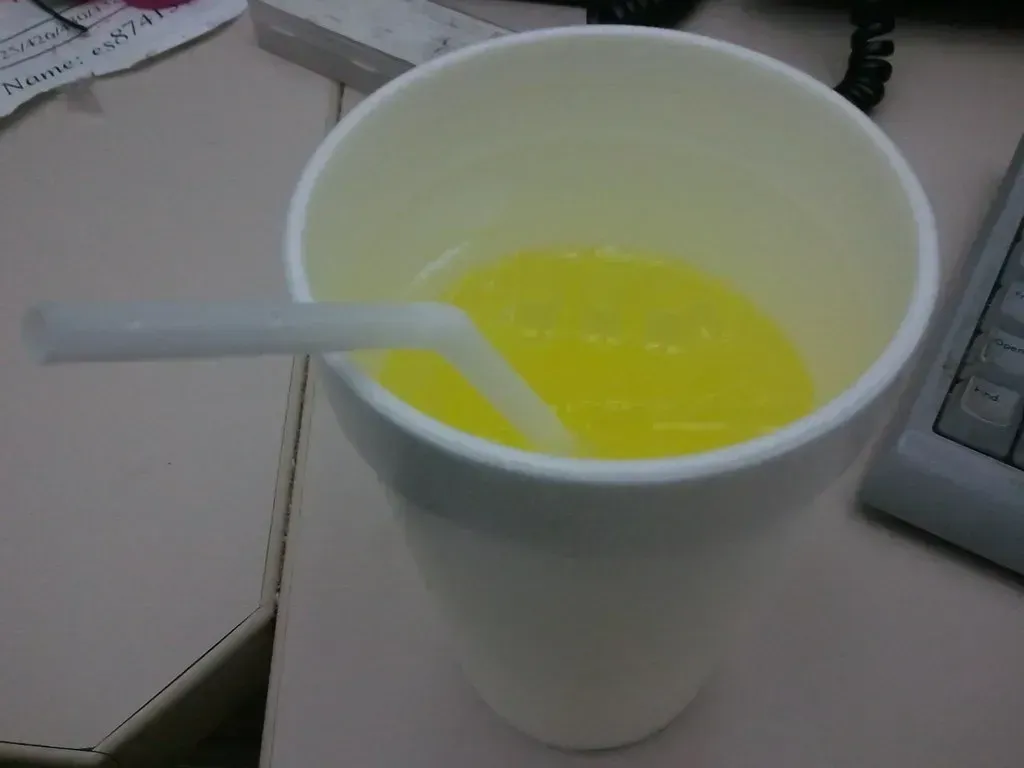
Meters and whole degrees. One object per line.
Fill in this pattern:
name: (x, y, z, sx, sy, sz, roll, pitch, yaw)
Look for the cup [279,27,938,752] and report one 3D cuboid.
cup: (0.050, 0.025, 0.560, 0.283, 0.405, 0.237, 9, 32, 14)
